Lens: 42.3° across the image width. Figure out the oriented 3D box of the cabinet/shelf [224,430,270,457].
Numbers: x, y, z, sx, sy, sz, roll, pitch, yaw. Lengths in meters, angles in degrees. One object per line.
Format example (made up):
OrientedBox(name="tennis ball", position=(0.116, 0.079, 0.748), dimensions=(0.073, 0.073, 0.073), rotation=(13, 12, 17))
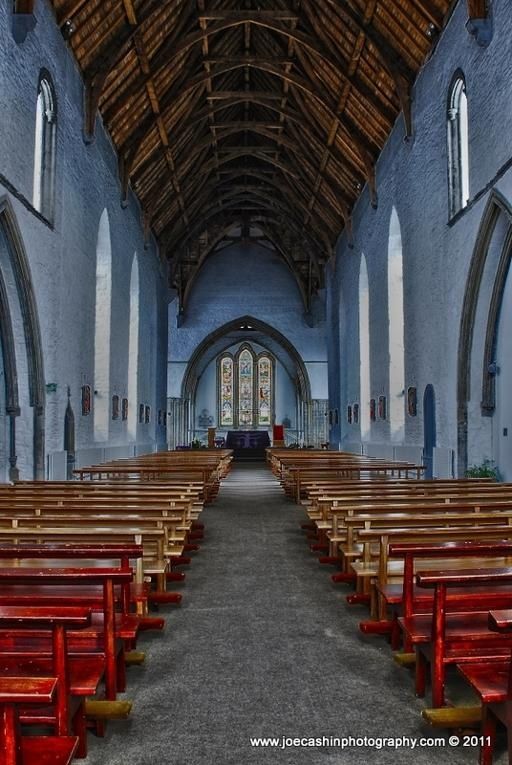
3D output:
OrientedBox(name="cabinet/shelf", position=(-0.375, 2.712, 28.375), dimensions=(1.749, 1.185, 2.265), rotation=(-1, -5, -6))
